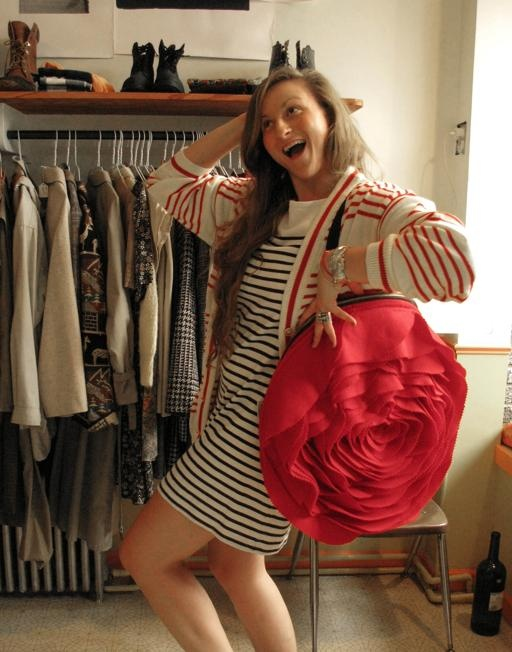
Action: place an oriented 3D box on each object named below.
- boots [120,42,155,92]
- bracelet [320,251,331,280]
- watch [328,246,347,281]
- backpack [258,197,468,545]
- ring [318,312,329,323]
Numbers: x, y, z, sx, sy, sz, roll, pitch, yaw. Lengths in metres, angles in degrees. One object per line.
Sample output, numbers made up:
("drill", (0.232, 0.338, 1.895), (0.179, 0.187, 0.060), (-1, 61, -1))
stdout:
("boots", (-0.376, -0.828, 1.886), (0.085, 0.147, 0.218), (6, 27, -2))
("bracelet", (0.126, -0.109, 1.070), (0.017, 0.041, 0.032), (5, -4, -8))
("watch", (0.143, -0.108, 1.047), (0.022, 0.050, 0.041), (9, 14, 16))
("backpack", (0.191, 0.161, 1.107), (0.383, 0.448, 0.205), (-1, 15, -15))
("ring", (0.121, -0.016, 1.061), (0.020, 0.013, 0.020), (2, 1, 0))
